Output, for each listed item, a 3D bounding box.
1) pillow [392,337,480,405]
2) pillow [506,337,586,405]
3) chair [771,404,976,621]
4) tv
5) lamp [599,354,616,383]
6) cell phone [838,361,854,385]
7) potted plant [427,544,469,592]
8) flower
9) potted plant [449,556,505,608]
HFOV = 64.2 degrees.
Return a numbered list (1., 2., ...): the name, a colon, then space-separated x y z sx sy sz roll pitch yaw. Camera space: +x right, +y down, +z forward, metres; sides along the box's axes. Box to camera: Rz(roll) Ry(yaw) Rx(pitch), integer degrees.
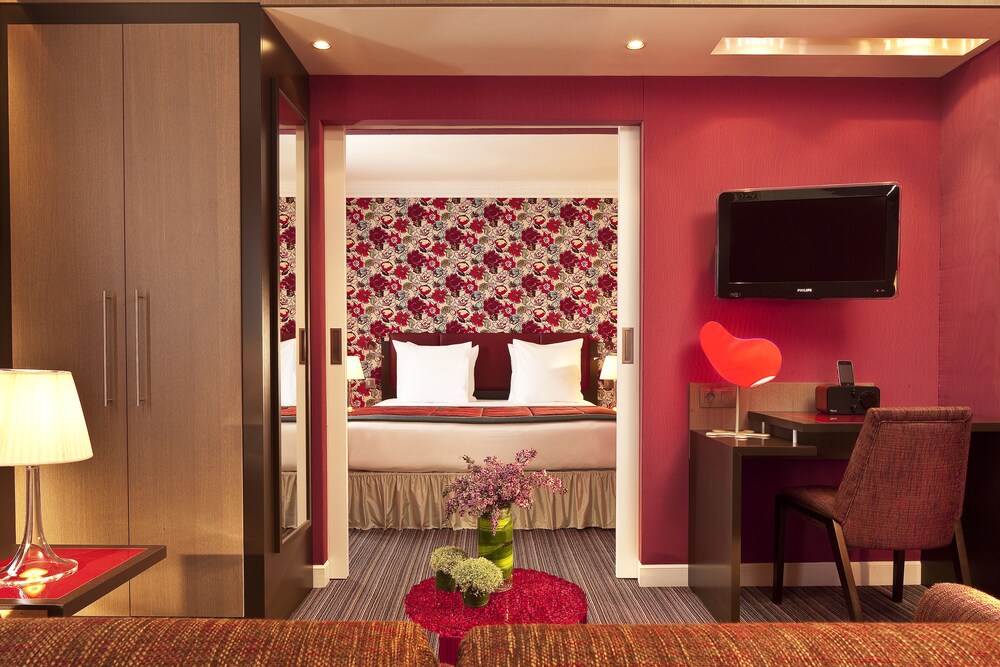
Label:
1. pillow: -0.557 0.333 6.846 0.581 0.435 0.197 -1 -42 0
2. pillow: 0.372 0.331 6.901 0.911 0.450 0.777 1 28 -1
3. chair: 1.943 0.937 4.181 0.768 1.094 0.846 3 -8 -3
4. tv: 1.715 -0.514 4.485 0.981 0.629 0.091 0 2 14
5. lamp: 0.937 0.285 6.880 0.214 0.210 0.204 1 -1 0
6. cell phone: 1.916 0.207 4.430 0.081 0.130 0.100 0 2 -10
7. potted plant: -0.227 1.011 3.466 0.174 0.158 0.167 0 0 -3
8. flower: -0.010 0.664 3.560 0.360 0.213 0.347 -3 1 -6
9. potted plant: -0.096 1.035 3.350 0.212 0.183 0.207 -4 -8 25
